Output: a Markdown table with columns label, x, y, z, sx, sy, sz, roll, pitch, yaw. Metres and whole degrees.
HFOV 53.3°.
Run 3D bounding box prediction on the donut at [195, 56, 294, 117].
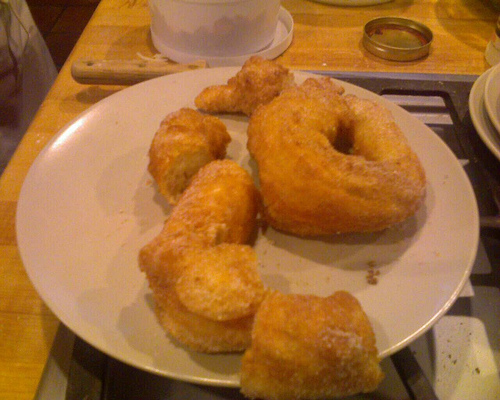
| label | x | y | z | sx | sy | sz | roll | pitch | yaw |
| --- | --- | --- | --- | --- | --- | --- | --- | --- | --- |
| donut | -0.009 | -0.219 | 0.993 | 0.153 | 0.061 | 0.120 | -18 | 59 | 13 |

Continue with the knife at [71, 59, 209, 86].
| label | x | y | z | sx | sy | sz | roll | pitch | yaw |
| --- | --- | --- | --- | --- | --- | --- | --- | --- | --- |
| knife | -0.248 | -0.286 | 1.114 | 0.301 | 0.076 | 0.070 | 0 | 40 | -1 |

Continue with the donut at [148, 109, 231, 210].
| label | x | y | z | sx | sy | sz | roll | pitch | yaw |
| --- | --- | --- | --- | --- | --- | --- | --- | --- | --- |
| donut | -0.104 | -0.106 | 0.924 | 0.129 | 0.064 | 0.205 | -1 | 46 | 0 |

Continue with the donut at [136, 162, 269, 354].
| label | x | y | z | sx | sy | sz | roll | pitch | yaw |
| --- | --- | --- | --- | --- | --- | --- | --- | --- | --- |
| donut | -0.072 | 0.076 | 0.824 | 0.246 | 0.105 | 0.313 | -6 | 42 | -4 |
